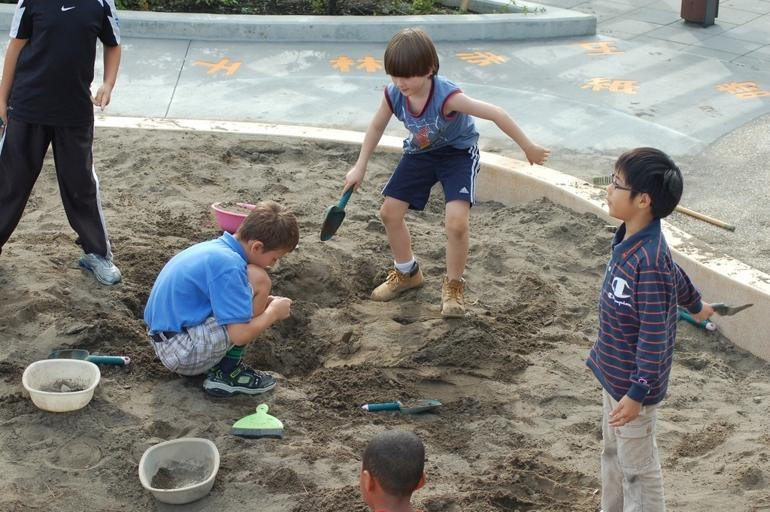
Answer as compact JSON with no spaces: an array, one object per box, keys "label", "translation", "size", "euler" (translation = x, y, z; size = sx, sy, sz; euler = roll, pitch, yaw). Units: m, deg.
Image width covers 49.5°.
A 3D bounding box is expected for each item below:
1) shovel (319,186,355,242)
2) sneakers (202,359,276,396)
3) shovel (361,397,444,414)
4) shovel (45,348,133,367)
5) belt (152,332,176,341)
[{"label":"shovel","translation":[-0.385,-0.335,6.333],"size":[0.280,0.390,0.268],"euler":[-22,37,-38]},{"label":"sneakers","translation":[-0.957,0.791,5.534],"size":[0.539,0.229,0.184],"euler":[8,3,-36]},{"label":"shovel","translation":[0.098,0.989,5.527],"size":[0.555,0.082,0.098],"euler":[0,11,-4]},{"label":"shovel","translation":[-1.939,0.667,5.504],"size":[0.387,0.063,0.180],"euler":[4,-1,-10]},{"label":"belt","translation":[-1.432,0.513,5.356],"size":[0.080,0.035,0.106],"euler":[-6,0,-37]}]
